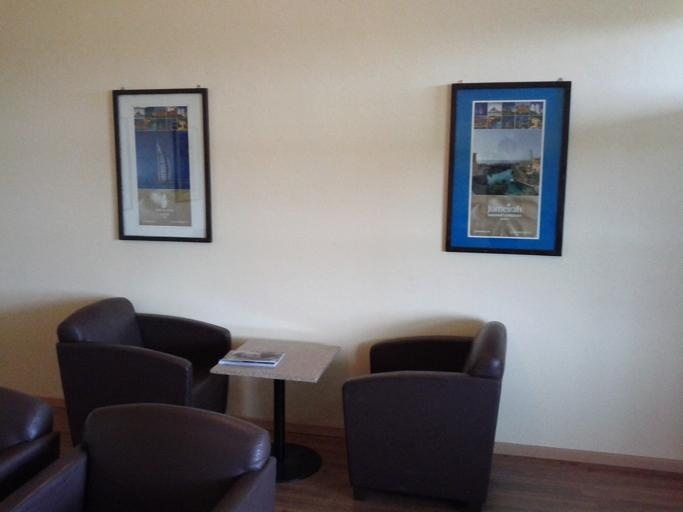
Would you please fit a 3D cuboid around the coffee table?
[{"bbox_3d":[-0.490,1.141,4.138,0.968,0.706,0.976,-3,-2,13],"label":"coffee table"}]

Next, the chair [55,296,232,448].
[{"bbox_3d":[-1.464,0.736,4.540,1.180,1.104,1.041,3,11,11],"label":"chair"}]

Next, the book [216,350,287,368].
[{"bbox_3d":[-0.638,0.715,4.030,0.412,0.053,0.255,4,7,5],"label":"book"}]

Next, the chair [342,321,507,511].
[{"bbox_3d":[0.568,1.072,4.248,1.202,1.242,1.139,2,5,14],"label":"chair"}]
